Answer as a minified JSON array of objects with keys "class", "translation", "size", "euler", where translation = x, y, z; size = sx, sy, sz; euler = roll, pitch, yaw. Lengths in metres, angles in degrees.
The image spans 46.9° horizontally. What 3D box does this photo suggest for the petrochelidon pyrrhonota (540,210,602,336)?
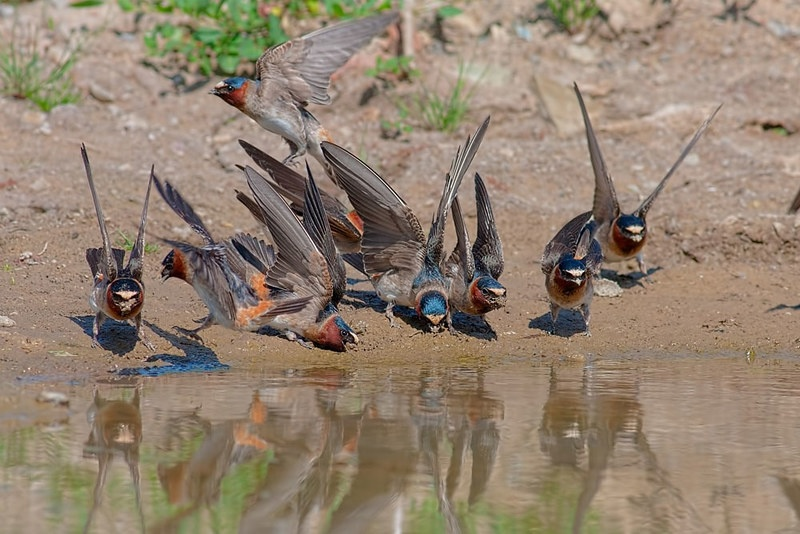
[{"class":"petrochelidon pyrrhonota","translation":[1.826,-0.096,9.649],"size":[0.493,0.807,1.566],"euler":[4,45,8]}]
